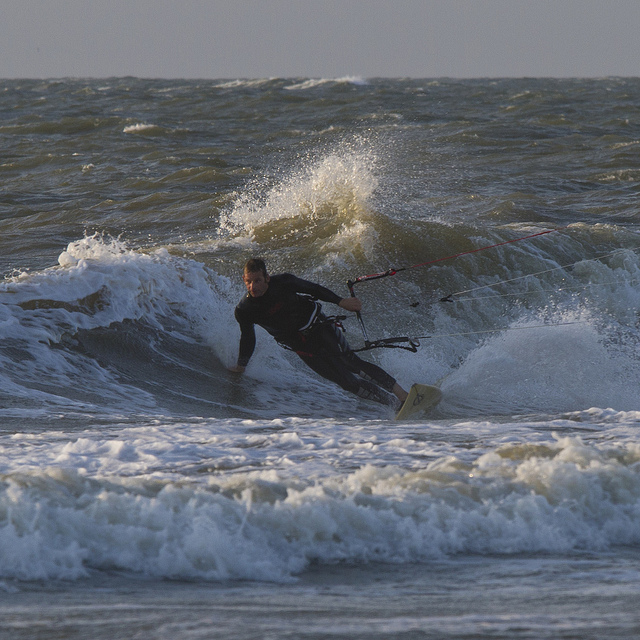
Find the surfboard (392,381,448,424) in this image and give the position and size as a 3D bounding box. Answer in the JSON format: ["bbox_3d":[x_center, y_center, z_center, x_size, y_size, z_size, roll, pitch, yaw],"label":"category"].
[{"bbox_3d":[0.976,0.747,13.616,0.392,0.140,1.150,-29,8,-7],"label":"surfboard"}]

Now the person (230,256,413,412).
[{"bbox_3d":[0.027,0.235,13.400,1.729,1.236,1.035,1,-12,-5],"label":"person"}]
